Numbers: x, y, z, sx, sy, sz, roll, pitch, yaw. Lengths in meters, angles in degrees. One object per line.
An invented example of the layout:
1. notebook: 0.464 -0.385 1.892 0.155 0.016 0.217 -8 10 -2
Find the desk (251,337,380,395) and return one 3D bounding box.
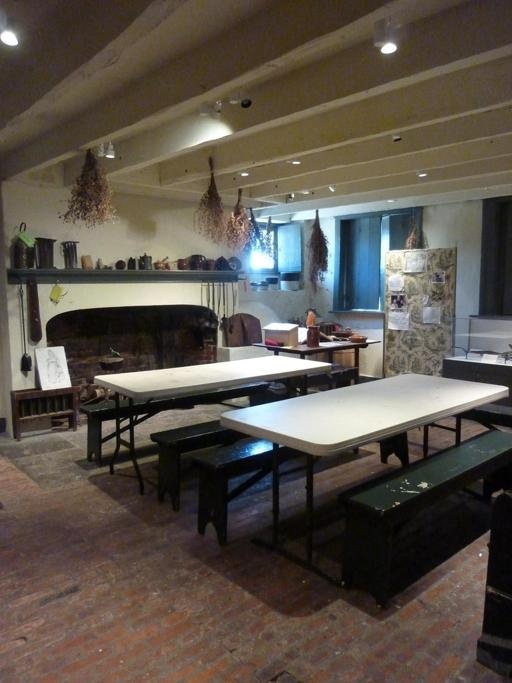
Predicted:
1. desk: 0.873 0.380 6.787 1.472 0.699 0.828 -8 6 -36

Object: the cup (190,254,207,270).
1. cup: -0.870 -1.183 7.589 0.245 0.173 0.240 -2 9 0

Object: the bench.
1. bench: 0.846 0.887 3.463 1.883 0.884 1.139 -5 7 -40

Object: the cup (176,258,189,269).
1. cup: -1.068 -1.128 7.374 0.123 0.132 0.193 -1 0 29

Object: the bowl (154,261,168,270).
1. bowl: -1.337 -1.066 7.109 0.155 0.124 0.073 -3 -3 -36
